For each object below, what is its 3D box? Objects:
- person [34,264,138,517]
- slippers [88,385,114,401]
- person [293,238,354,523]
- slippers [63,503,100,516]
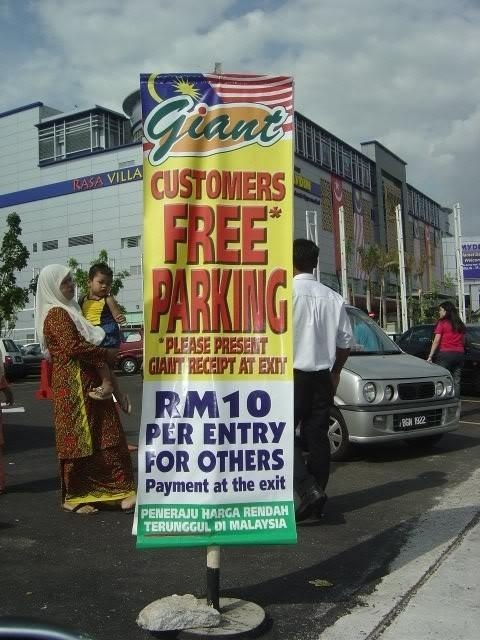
[{"bbox_3d":[-1.173,0.520,4.666,0.725,1.903,0.477,0,-6,-18],"label":"person"},{"bbox_3d":[-1.026,0.550,4.609,0.109,0.109,0.244,-5,-6,31],"label":"slippers"},{"bbox_3d":[0.565,0.401,4.190,0.434,1.994,0.680,-2,-5,5],"label":"person"},{"bbox_3d":[-1.225,1.448,4.718,0.234,0.061,0.122,6,-5,-1],"label":"slippers"}]
